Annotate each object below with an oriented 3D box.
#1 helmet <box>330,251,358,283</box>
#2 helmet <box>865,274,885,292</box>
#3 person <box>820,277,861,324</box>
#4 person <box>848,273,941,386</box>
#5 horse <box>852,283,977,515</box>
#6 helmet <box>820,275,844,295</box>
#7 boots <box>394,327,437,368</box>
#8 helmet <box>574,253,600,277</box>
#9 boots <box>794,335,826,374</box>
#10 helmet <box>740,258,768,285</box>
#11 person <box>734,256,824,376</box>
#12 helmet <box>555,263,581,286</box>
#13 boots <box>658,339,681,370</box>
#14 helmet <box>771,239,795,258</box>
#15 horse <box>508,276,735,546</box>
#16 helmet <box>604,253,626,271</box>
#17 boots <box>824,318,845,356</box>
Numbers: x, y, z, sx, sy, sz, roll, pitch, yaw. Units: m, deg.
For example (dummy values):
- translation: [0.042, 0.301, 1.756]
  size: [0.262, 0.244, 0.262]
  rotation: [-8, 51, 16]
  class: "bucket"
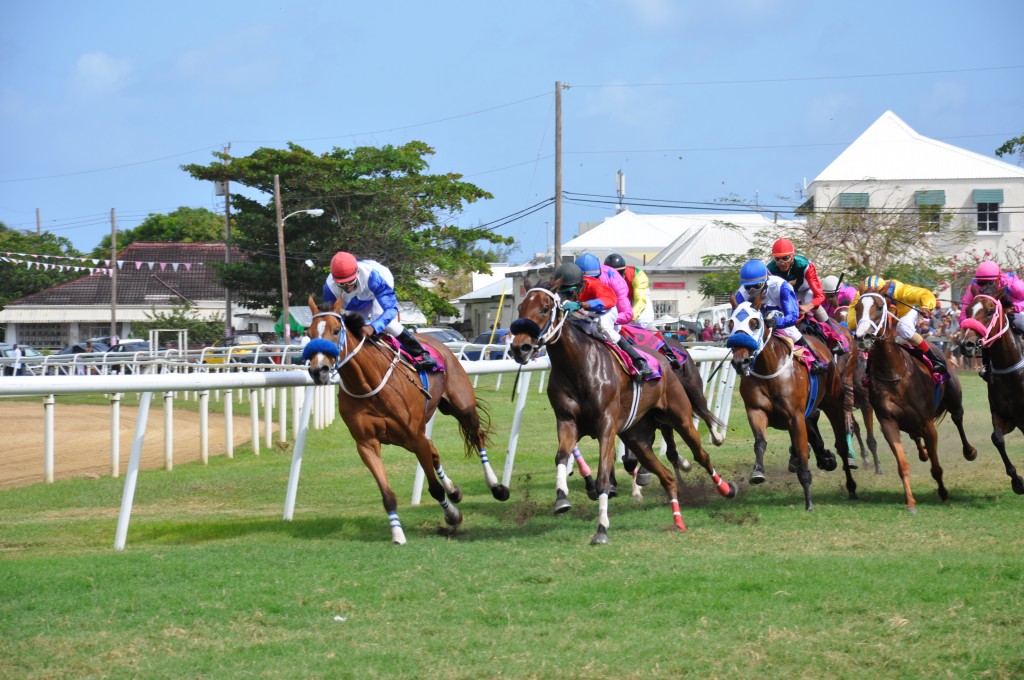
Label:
- translation: [-1.661, -0.701, 12.809]
  size: [0.279, 0.315, 0.249]
  rotation: [-1, -2, 4]
  class: "helmet"
- translation: [3.939, -0.559, 13.968]
  size: [0.186, 0.227, 0.213]
  rotation: [-7, 34, 2]
  class: "helmet"
- translation: [4.422, -0.584, 16.757]
  size: [0.744, 0.300, 0.439]
  rotation: [-5, 14, 9]
  class: "person"
- translation: [4.200, -0.202, 14.192]
  size: [0.986, 0.874, 1.533]
  rotation: [6, -1, 34]
  class: "person"
- translation: [4.375, 0.564, 14.187]
  size: [0.797, 2.426, 1.870]
  rotation: [-2, -2, 34]
  class: "horse"
- translation: [4.126, -0.683, 16.677]
  size: [0.225, 0.158, 0.302]
  rotation: [-39, 4, -4]
  class: "helmet"
- translation: [-1.002, 0.100, 13.445]
  size: [0.294, 0.521, 0.137]
  rotation: [-11, -21, -43]
  class: "boots"
- translation: [0.824, -0.776, 13.690]
  size: [0.204, 0.175, 0.296]
  rotation: [-7, 10, -9]
  class: "helmet"
- translation: [3.281, 0.185, 14.209]
  size: [0.197, 0.319, 0.740]
  rotation: [-6, -23, 32]
  class: "boots"
- translation: [2.683, -0.713, 14.205]
  size: [0.239, 0.254, 0.314]
  rotation: [-8, 19, 17]
  class: "helmet"
- translation: [3.142, -0.475, 14.509]
  size: [1.309, 0.964, 0.564]
  rotation: [-27, 19, -30]
  class: "person"
- translation: [0.545, -0.629, 12.685]
  size: [0.307, 0.239, 0.146]
  rotation: [0, -2, -35]
  class: "helmet"
- translation: [1.730, 0.160, 14.015]
  size: [0.143, 0.294, 0.239]
  rotation: [-23, 9, 47]
  class: "boots"
- translation: [3.147, -1.039, 14.907]
  size: [0.229, 0.235, 0.412]
  rotation: [-2, -2, 16]
  class: "helmet"
- translation: [1.015, 0.736, 12.873]
  size: [0.930, 2.463, 2.389]
  rotation: [-3, -2, 39]
  class: "horse"
- translation: [1.204, -0.886, 14.819]
  size: [0.208, 0.172, 0.207]
  rotation: [-20, -19, -12]
  class: "helmet"
- translation: [3.813, -0.092, 15.116]
  size: [0.163, 0.497, 0.162]
  rotation: [-9, -40, 1]
  class: "boots"
